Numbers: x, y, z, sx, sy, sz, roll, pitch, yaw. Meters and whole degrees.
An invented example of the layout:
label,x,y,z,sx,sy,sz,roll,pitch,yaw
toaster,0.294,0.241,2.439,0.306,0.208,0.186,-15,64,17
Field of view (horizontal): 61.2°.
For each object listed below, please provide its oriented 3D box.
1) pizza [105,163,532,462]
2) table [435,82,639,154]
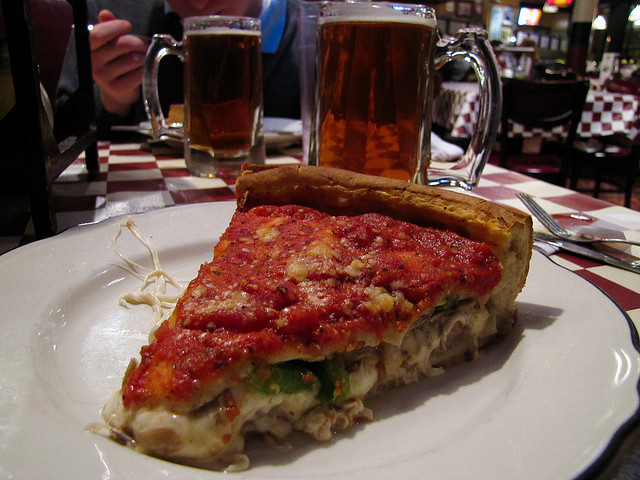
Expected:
label,x,y,z,sx,sy,sz,roll,pitch,yaw
pizza,-0.061,0.138,1.378,0.839,0.376,1.032,13,29,37
table,1.915,-1.063,4.626,1.300,0.333,1.363,-8,27,-11
